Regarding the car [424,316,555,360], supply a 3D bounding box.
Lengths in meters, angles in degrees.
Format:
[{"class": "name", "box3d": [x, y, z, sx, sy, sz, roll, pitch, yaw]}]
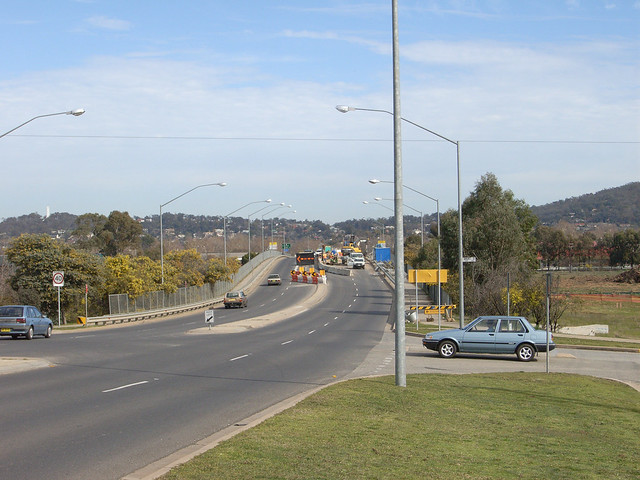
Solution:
[{"class": "car", "box3d": [6.955, 4.038, 34.146, 5.035, 1.712, 2.261, 0, -6, 18]}]
